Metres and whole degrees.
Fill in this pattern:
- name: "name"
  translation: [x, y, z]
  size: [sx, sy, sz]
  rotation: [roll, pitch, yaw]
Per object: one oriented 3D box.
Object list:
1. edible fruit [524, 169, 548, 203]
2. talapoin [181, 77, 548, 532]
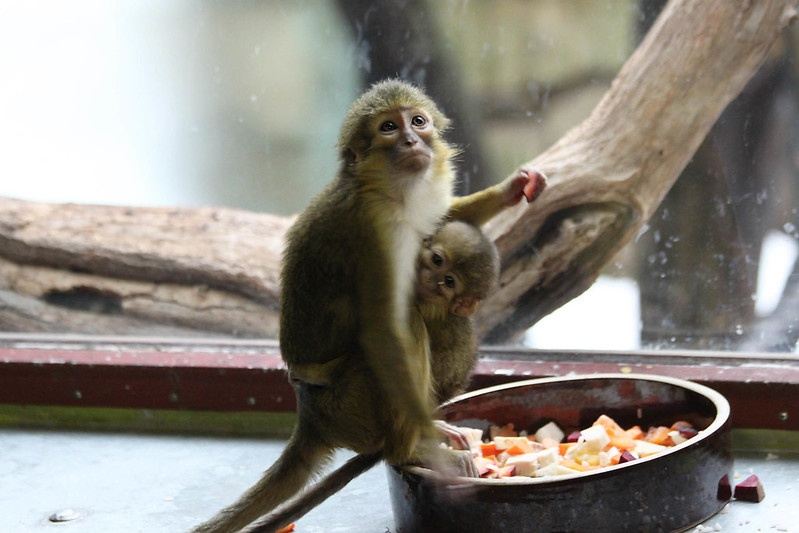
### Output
- name: "edible fruit"
  translation: [0.391, -0.234, 3.696]
  size: [0.066, 0.087, 0.039]
  rotation: [18, -9, -9]
- name: "talapoin"
  translation: [0.000, 0.024, 3.630]
  size: [0.682, 1.062, 0.298]
  rotation: [-1, 12, -6]
